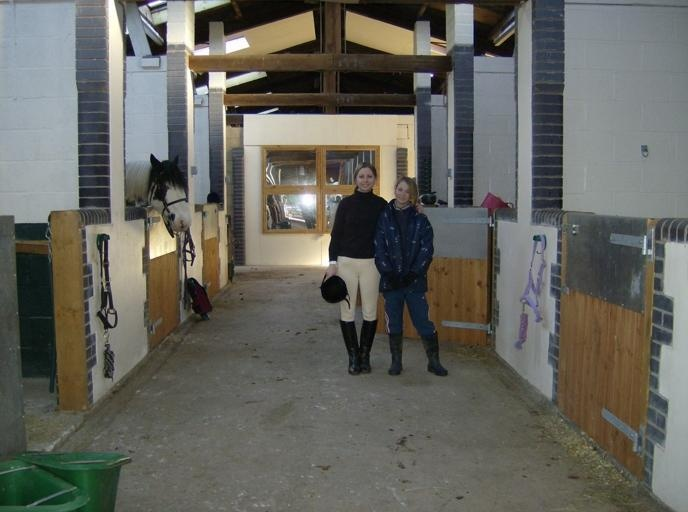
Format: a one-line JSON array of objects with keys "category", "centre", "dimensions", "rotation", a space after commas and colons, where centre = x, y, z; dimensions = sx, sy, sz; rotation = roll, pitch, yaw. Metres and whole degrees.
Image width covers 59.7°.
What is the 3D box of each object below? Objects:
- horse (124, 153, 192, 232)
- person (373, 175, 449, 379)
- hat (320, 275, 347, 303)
[{"category": "horse", "centre": [-2.239, -0.801, 6.720], "dimensions": [1.478, 0.766, 0.443], "rotation": [22, 25, 39]}, {"category": "person", "centre": [0.594, 0.203, 5.468], "dimensions": [0.635, 1.801, 0.427], "rotation": [0, 8, 2]}, {"category": "hat", "centre": [-0.095, 0.296, 5.421], "dimensions": [0.231, 0.224, 0.182], "rotation": [0, 8, 0]}]
